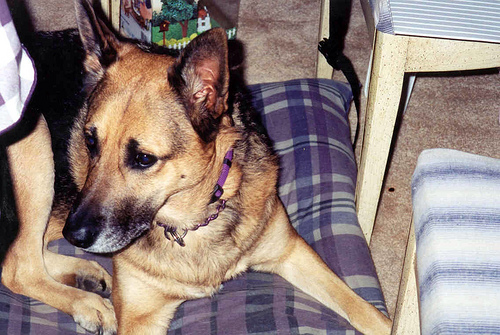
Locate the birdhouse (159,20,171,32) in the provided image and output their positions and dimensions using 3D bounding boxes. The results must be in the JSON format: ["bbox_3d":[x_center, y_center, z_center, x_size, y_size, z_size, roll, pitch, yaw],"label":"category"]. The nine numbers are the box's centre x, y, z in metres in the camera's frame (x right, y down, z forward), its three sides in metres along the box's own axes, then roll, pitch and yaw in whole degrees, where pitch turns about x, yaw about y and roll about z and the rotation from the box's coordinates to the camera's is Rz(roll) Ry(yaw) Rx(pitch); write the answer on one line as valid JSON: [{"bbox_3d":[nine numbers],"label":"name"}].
[{"bbox_3d":[-0.689,-1.138,4.364,0.103,0.101,0.068,-13,33,-26],"label":"birdhouse"}]

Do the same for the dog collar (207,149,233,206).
[{"bbox_3d":[-0.149,0.047,2.823,0.072,0.184,0.242,23,67,-6],"label":"dog collar"}]

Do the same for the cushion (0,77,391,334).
[{"bbox_3d":[-0.234,0.157,3.459,1.977,0.808,1.714,0,33,0],"label":"cushion"}]
